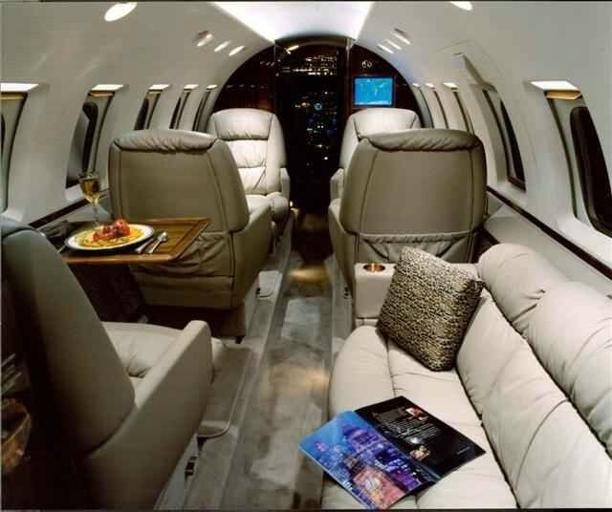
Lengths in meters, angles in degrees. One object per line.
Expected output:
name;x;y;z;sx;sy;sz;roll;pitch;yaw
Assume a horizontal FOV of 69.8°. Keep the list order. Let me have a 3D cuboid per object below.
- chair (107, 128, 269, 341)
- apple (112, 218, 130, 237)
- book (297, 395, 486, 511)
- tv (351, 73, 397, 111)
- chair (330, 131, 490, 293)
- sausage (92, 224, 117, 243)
chair;-0.412;-0.216;2.706;0.745;1.338;1.131;2;15;3
apple;-0.816;-0.142;1.948;0.059;0.035;0.089;-3;49;-6
book;0.283;0.618;1.391;0.600;0.127;0.326;-7;20;-10
tv;0.732;-1.759;4.692;0.411;0.333;1.363;1;20;11
chair;0.519;-0.367;2.591;0.594;1.004;0.848;0;25;0
sausage;-0.876;-0.098;1.920;0.067;0.035;0.100;-6;34;11
